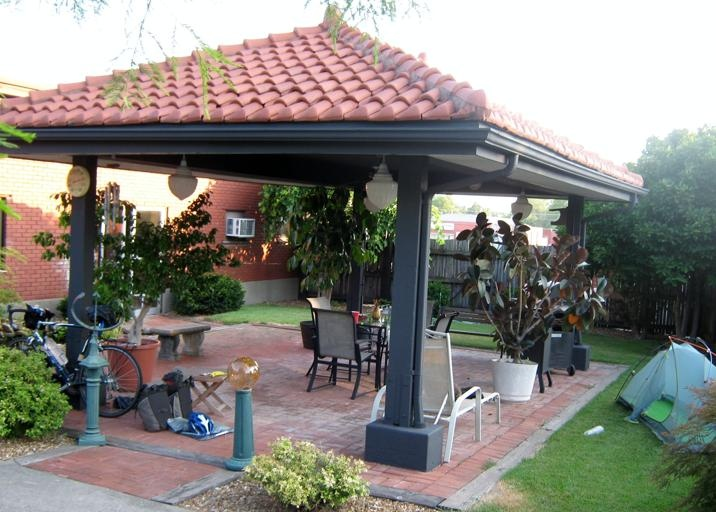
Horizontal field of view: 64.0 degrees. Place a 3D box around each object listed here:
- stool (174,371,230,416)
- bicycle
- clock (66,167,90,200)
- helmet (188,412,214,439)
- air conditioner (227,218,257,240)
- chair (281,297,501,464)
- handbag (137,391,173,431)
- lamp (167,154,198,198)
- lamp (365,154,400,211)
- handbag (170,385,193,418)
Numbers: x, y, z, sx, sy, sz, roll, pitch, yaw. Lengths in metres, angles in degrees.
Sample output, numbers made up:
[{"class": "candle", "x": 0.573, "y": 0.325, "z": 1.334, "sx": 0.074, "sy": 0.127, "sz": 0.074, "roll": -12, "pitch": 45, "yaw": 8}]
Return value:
[{"class": "stool", "x": -1.934, "y": 1.731, "z": 7.344, "sx": 0.583, "sy": 0.480, "sz": 0.533, "roll": 1, "pitch": 0, "yaw": 22}, {"class": "bicycle", "x": -3.593, "y": 1.278, "z": 7.421, "sx": 1.469, "sy": 1.359, "sz": 2.844, "roll": 0, "pitch": 3, "yaw": -40}, {"class": "clock", "x": -3.594, "y": -0.952, "z": 7.397, "sx": 0.368, "sy": 0.461, "sz": 0.074, "roll": 2, "pitch": -4, "yaw": 22}, {"class": "helmet", "x": -1.792, "y": 1.930, "z": 6.576, "sx": 0.197, "sy": 0.281, "sz": 0.138, "roll": -37, "pitch": -15, "yaw": -23}, {"class": "air conditioner", "x": -3.507, "y": -0.847, "z": 17.202, "sx": 0.472, "sy": 0.607, "sz": 0.961, "roll": 3, "pitch": 3, "yaw": 25}, {"class": "chair", "x": 0.597, "y": 1.365, "z": 6.838, "sx": 1.362, "sy": 1.747, "sz": 2.516, "roll": 0, "pitch": -1, "yaw": 30}, {"class": "handbag", "x": -2.370, "y": 1.805, "z": 6.727, "sx": 0.384, "sy": 0.437, "sz": 0.246, "roll": 1, "pitch": 3, "yaw": -20}, {"class": "lamp", "x": -2.315, "y": -1.068, "z": 7.548, "sx": 0.335, "sy": 0.607, "sz": 0.646, "roll": 1, "pitch": 3, "yaw": -20}, {"class": "lamp", "x": 0.289, "y": -0.893, "z": 6.963, "sx": 0.351, "sy": 0.572, "sz": 0.802, "roll": 2, "pitch": 3, "yaw": 2}, {"class": "handbag", "x": -2.128, "y": 1.763, "z": 6.961, "sx": 0.252, "sy": 0.386, "sz": 0.102, "roll": -1, "pitch": 4, "yaw": -45}]
